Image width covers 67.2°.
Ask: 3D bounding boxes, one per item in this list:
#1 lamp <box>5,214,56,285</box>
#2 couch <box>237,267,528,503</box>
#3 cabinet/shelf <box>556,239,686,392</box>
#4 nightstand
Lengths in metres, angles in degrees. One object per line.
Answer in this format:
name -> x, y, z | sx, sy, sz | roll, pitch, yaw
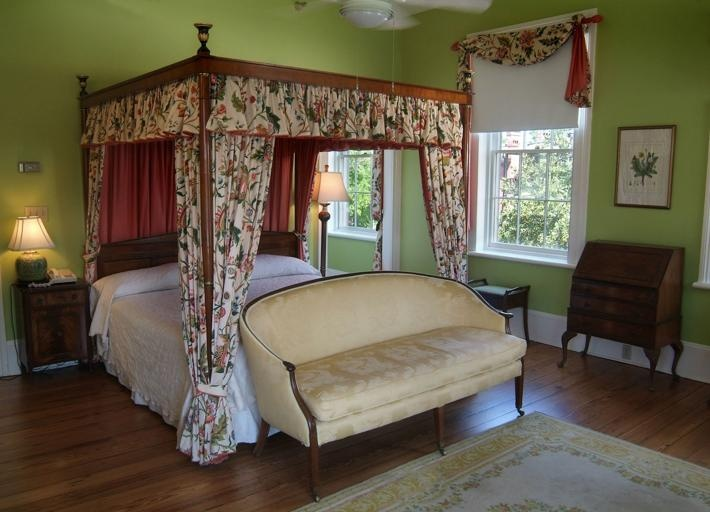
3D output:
lamp -> -3.222, -0.072, 5.341 | 0.361, 0.652, 0.384 | -8, 11, -35
couch -> 0.298, 0.862, 4.596 | 2.511, 1.295, 1.318 | -5, 7, -35
cabinet/shelf -> 2.766, 0.549, 5.536 | 0.669, 1.323, 0.934 | -5, 10, -42
nightstand -> -3.002, 0.749, 5.533 | 0.646, 0.880, 0.586 | -5, -5, -16
